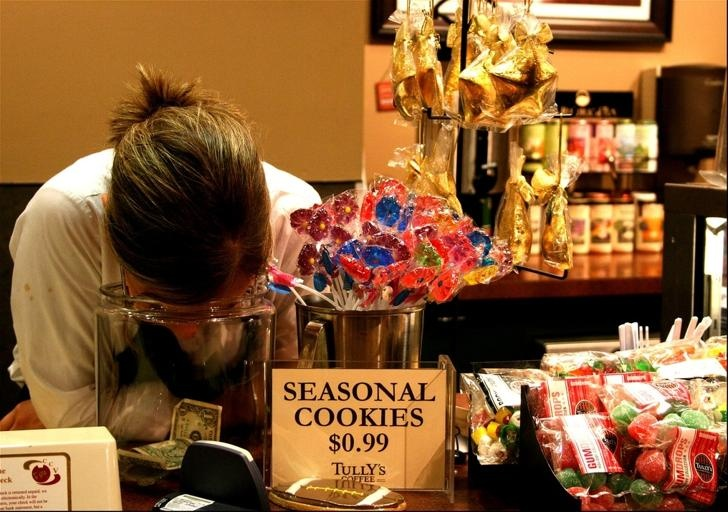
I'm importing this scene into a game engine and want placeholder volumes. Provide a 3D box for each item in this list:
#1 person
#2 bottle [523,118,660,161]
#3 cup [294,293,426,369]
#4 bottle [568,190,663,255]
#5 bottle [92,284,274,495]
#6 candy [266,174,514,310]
[{"bbox_3d":[-0.375,-0.002,1.567,0.595,0.824,0.810,0,7,-21],"label":"person"},{"bbox_3d":[1.040,-0.515,3.154,0.685,0.217,0.115,-1,-3,-15],"label":"bottle"},{"bbox_3d":[-0.009,0.117,1.180,0.145,0.110,0.117,1,2,-2],"label":"cup"},{"bbox_3d":[1.104,-0.151,3.158,0.312,0.197,0.121,-2,3,-15],"label":"bottle"},{"bbox_3d":[-0.260,0.230,1.299,0.297,0.338,0.299,3,-3,5],"label":"bottle"},{"bbox_3d":[0.037,-0.024,1.274,0.439,0.234,0.217,-3,-3,12],"label":"candy"}]
